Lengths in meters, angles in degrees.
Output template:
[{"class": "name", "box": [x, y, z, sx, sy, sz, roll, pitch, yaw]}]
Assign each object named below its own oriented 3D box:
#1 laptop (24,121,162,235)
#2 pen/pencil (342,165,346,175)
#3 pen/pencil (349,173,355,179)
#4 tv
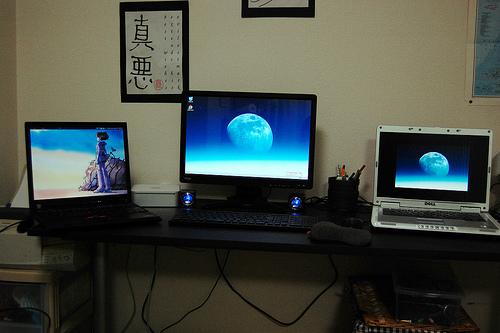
[{"class": "laptop", "box": [-0.951, 0.023, 2.493, 0.709, 0.573, 0.590, 0, 5, -24]}, {"class": "pen/pencil", "box": [0.562, 0.014, 2.574, 0.021, 0.092, 0.014, 10, -33, -6]}, {"class": "pen/pencil", "box": [0.606, 0.058, 2.554, 0.014, 0.008, 0.037, 8, 45, 36]}, {"class": "tv", "box": [-0.009, -0.107, 2.492, 0.694, 0.565, 0.206, 2, 4, 5]}]
